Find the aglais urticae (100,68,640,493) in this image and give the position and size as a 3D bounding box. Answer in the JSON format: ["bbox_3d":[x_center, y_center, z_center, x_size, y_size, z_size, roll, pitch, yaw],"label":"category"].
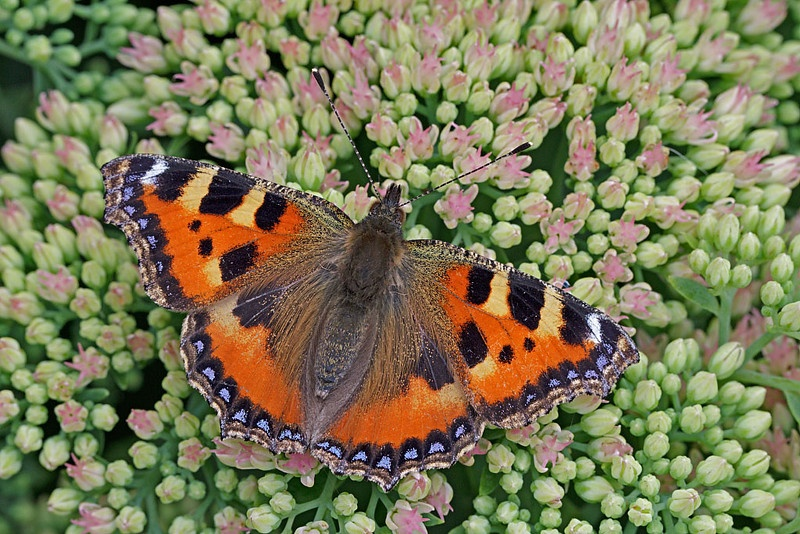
[{"bbox_3d":[-0.132,0.114,2.416,1.699,0.200,1.116,16,100,-4],"label":"aglais urticae"}]
